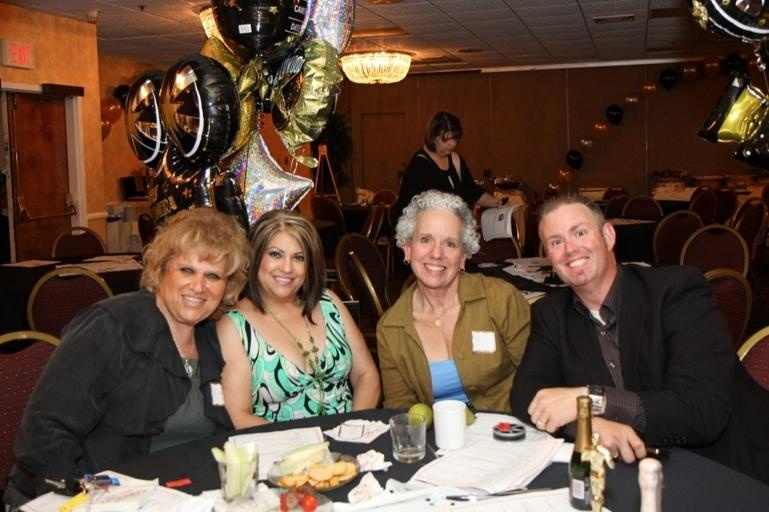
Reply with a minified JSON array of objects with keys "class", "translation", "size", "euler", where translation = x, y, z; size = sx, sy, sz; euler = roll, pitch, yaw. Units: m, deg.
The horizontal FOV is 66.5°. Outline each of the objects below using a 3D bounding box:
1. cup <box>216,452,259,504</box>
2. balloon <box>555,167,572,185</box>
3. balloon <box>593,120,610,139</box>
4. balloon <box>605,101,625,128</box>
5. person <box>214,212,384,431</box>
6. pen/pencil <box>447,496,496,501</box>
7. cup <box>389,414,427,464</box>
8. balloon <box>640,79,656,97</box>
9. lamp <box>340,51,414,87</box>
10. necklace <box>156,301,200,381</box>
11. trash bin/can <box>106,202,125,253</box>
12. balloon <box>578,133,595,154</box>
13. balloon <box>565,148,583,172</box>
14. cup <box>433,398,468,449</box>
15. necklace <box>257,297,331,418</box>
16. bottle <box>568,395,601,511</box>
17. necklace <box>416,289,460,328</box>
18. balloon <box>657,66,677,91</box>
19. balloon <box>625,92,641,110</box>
[{"class":"cup","translation":[-0.472,0.723,1.922],"size":[0.114,0.143,0.117],"euler":[1,-11,0]},{"class":"balloon","translation":[3.967,-1.774,13.013],"size":[0.322,0.349,0.111],"euler":[-29,2,-9]},{"class":"balloon","translation":[4.681,-2.763,12.710],"size":[0.356,0.376,0.250],"euler":[2,9,21]},{"class":"balloon","translation":[4.935,-3.030,12.637],"size":[0.359,0.504,0.391],"euler":[-4,-13,-2]},{"class":"person","translation":[-0.420,0.377,2.800],"size":[0.608,1.187,0.798],"euler":[5,15,37]},{"class":"pen/pencil","translation":[0.272,0.776,1.884],"size":[0.136,0.012,0.020],"euler":[-2,9,-1]},{"class":"cup","translation":[0.085,0.648,2.108],"size":[0.143,0.157,0.141],"euler":[-4,0,0]},{"class":"balloon","translation":[5.509,-3.533,12.240],"size":[0.285,0.317,0.272],"euler":[-25,29,-8]},{"class":"lamp","translation":[-0.157,-3.302,10.286],"size":[1.259,0.552,1.399],"euler":[0,16,0]},{"class":"necklace","translation":[-0.861,0.378,2.493],"size":[0.196,0.309,0.107],"euler":[-10,-12,-23]},{"class":"trash bin/can","translation":[-4.216,-0.327,9.087],"size":[0.171,0.655,0.163],"euler":[-4,3,20]},{"class":"balloon","translation":[4.407,-2.471,12.853],"size":[0.365,0.398,0.171],"euler":[2,9,19]},{"class":"balloon","translation":[4.159,-2.112,12.877],"size":[0.383,0.464,0.285],"euler":[1,9,19]},{"class":"cup","translation":[0.233,0.609,2.174],"size":[0.137,0.175,0.148],"euler":[-4,-4,0]},{"class":"necklace","translation":[-0.394,0.456,2.786],"size":[0.180,0.598,0.049],"euler":[-11,-20,-29]},{"class":"bottle","translation":[0.607,0.608,1.813],"size":[0.064,0.363,0.128],"euler":[1,9,17]},{"class":"necklace","translation":[0.253,0.273,2.884],"size":[0.169,0.198,0.076],"euler":[1,-11,14]},{"class":"balloon","translation":[5.816,-3.592,12.043],"size":[0.373,0.533,0.406],"euler":[1,-5,9]},{"class":"balloon","translation":[5.238,-3.274,12.438],"size":[0.273,0.311,0.311],"euler":[-1,-4,-6]}]
